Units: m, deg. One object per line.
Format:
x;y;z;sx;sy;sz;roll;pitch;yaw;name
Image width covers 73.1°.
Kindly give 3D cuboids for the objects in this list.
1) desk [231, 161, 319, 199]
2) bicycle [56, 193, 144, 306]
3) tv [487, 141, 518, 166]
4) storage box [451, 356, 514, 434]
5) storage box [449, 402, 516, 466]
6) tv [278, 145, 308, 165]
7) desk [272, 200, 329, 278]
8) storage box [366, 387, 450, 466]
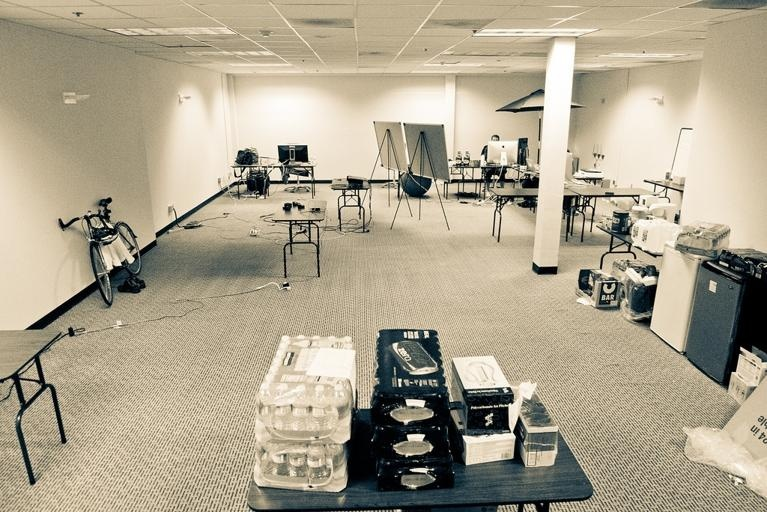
-3.002;-2.036;13.847;1.782;0.753;0.919;-1;28;-4;desk
-3.904;-0.129;7.341;0.735;0.979;1.537;-18;23;2;bicycle
2.823;-2.415;12.214;0.616;0.534;0.265;0;26;3;tv
0.652;1.030;3.471;0.374;0.307;0.645;-4;19;-2;storage box
0.645;1.069;3.318;0.296;0.123;0.553;-1;14;-5;storage box
-2.314;-2.595;13.223;0.592;0.393;0.200;1;30;-1;tv
-1.384;-0.250;8.638;0.551;0.634;1.358;1;20;0;desk
0.142;1.017;3.168;0.479;0.337;0.462;1;14;-1;storage box
